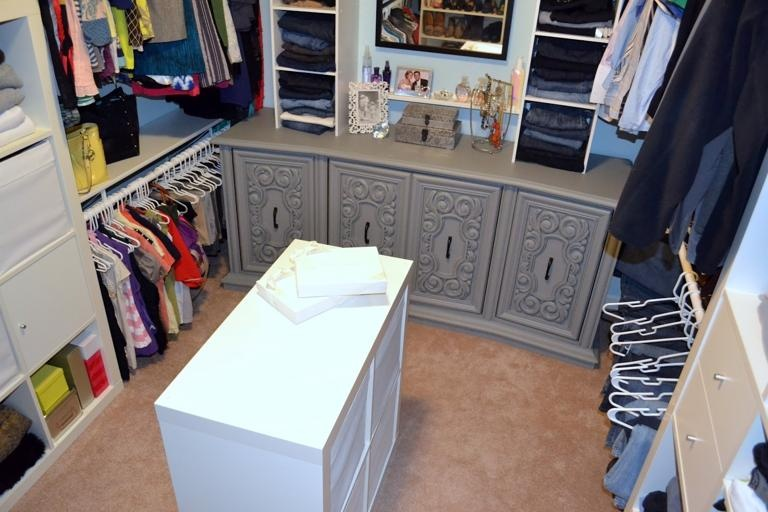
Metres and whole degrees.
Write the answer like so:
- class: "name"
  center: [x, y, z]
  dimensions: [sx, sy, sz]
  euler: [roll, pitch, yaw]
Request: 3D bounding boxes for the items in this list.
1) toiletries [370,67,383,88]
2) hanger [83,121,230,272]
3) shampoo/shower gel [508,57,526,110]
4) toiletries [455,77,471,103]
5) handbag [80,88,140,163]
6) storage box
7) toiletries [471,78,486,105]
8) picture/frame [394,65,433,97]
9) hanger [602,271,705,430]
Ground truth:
- class: "toiletries"
  center: [-0.075, -1.429, 4.254]
  dimensions: [0.085, 0.166, 0.091]
  euler: [7, 50, 3]
- class: "hanger"
  center: [-1.670, -0.440, 3.782]
  dimensions: [0.184, 0.308, 1.314]
  euler: [18, 46, 13]
- class: "shampoo/shower gel"
  center: [0.994, -1.294, 3.989]
  dimensions: [0.093, 0.365, 0.244]
  euler: [8, 26, 9]
- class: "toiletries"
  center: [0.616, -1.298, 4.156]
  dimensions: [0.110, 0.192, 0.121]
  euler: [-4, 41, -6]
- class: "handbag"
  center: [-1.875, -0.871, 3.567]
  dimensions: [0.367, 0.500, 0.277]
  euler: [-19, 45, -26]
- class: "storage box"
  center: [-2.006, 0.795, 3.310]
  dimensions: [0.164, 0.497, 0.525]
  euler: [6, 32, 9]
- class: "toiletries"
  center: [0.730, -1.265, 4.102]
  dimensions: [0.115, 0.190, 0.130]
  euler: [25, 48, 26]
- class: "picture/frame"
  center: [0.240, -1.399, 4.241]
  dimensions: [0.239, 0.203, 0.018]
  euler: [9, 27, 5]
- class: "hanger"
  center: [1.526, 0.581, 3.094]
  dimensions: [0.708, 1.035, 0.360]
  euler: [1, 3, -2]
